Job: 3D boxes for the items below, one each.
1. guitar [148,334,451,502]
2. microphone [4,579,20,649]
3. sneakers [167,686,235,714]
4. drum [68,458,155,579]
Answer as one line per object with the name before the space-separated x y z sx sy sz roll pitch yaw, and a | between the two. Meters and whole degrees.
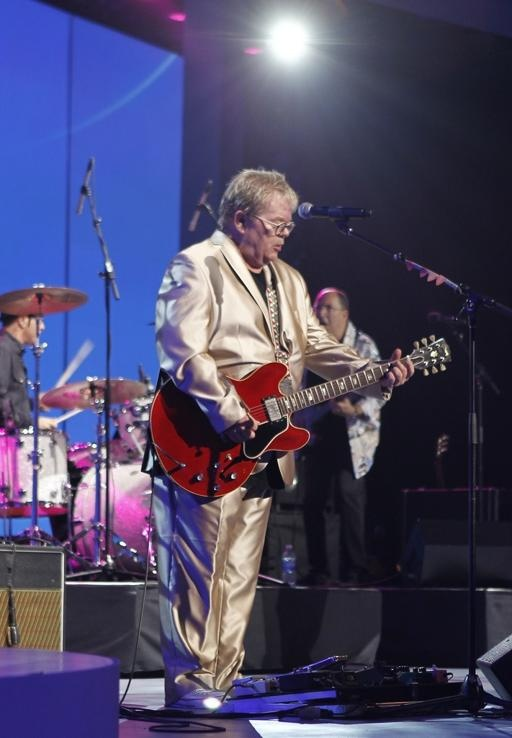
guitar | 0.179 0.112 3.718 1.404 0.436 0.216 -18 6 -38
microphone | -0.779 0.799 3.125 0.041 0.170 0.128 -3 11 -14
sneakers | -0.194 1.140 3.362 0.157 0.037 0.109 0 -6 8
drum | -0.799 0.929 5.796 0.744 0.637 0.676 0 -20 -8
